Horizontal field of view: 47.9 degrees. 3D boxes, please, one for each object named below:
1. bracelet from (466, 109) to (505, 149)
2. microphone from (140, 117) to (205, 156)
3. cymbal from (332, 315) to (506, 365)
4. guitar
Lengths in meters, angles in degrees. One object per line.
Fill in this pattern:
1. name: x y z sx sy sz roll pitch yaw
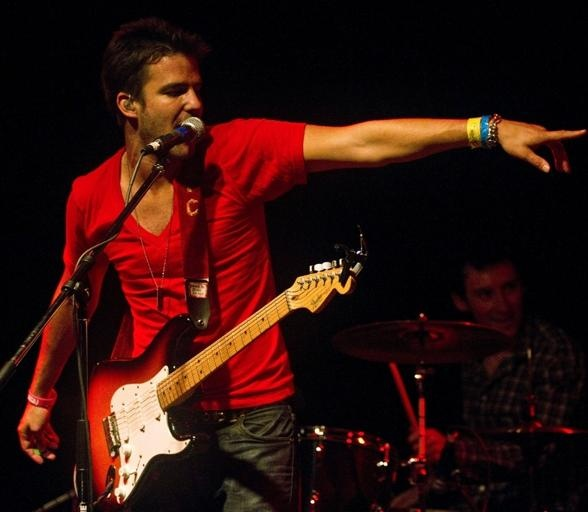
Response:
1. bracelet: 0.696 -0.457 2.426 0.128 0.120 0.055 -5 -2 21
2. microphone: -0.488 -0.487 2.764 0.106 0.102 0.368 -7 19 44
3. cymbal: 0.688 0.451 3.784 0.748 0.350 0.616 2 0 -24
4. guitar: -0.386 0.532 3.012 1.575 0.617 0.233 -37 -28 16
